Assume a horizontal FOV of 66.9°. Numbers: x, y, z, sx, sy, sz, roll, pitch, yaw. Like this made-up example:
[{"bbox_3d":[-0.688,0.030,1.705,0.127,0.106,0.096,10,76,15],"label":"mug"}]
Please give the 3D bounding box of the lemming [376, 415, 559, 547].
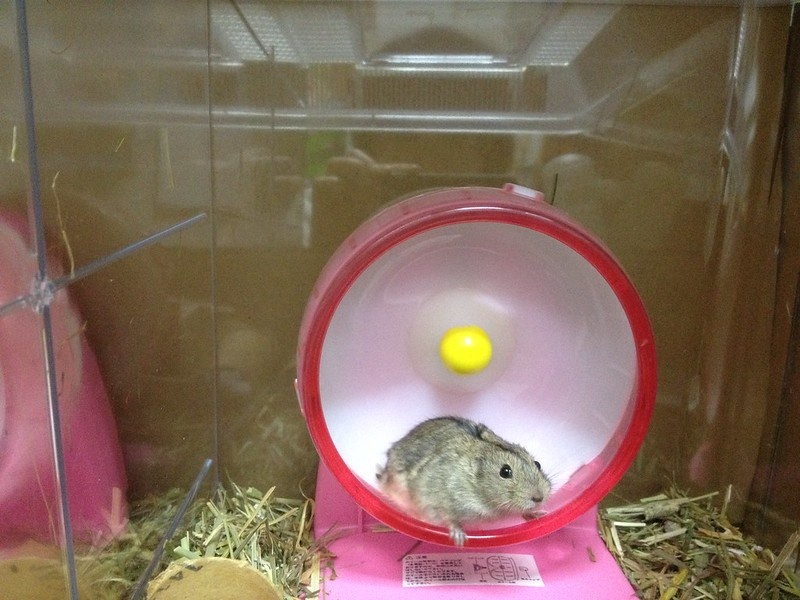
[{"bbox_3d":[0.101,0.258,0.966,0.253,0.154,0.154,17,-66,29],"label":"lemming"}]
